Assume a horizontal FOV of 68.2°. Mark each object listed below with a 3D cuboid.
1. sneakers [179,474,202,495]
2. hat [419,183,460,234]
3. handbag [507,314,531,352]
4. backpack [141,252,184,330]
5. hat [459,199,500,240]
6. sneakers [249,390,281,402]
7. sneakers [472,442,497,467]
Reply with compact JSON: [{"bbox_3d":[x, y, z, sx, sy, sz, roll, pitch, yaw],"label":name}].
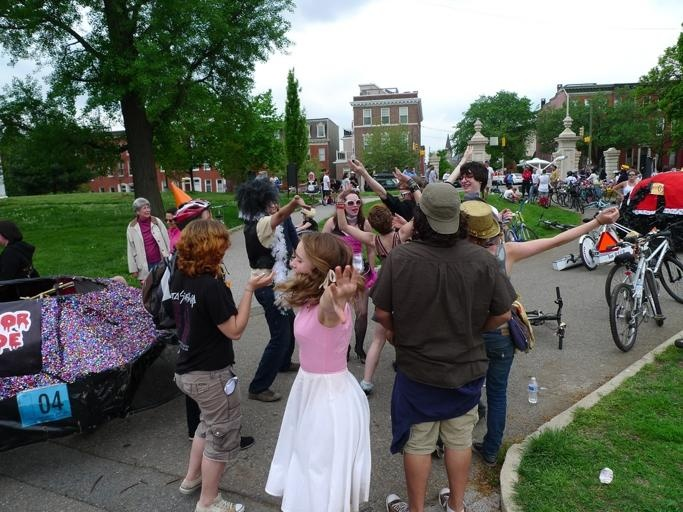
[{"bbox_3d":[-1.338,2.009,4.440,0.102,0.133,0.304,10,-26,10],"label":"sneakers"},{"bbox_3d":[0.854,-0.376,3.981,0.342,0.215,0.513,-17,-6,3],"label":"hat"},{"bbox_3d":[1.588,0.687,4.468,0.098,0.331,0.227,-14,-6,29],"label":"handbag"},{"bbox_3d":[-1.806,0.281,5.074,0.431,0.565,0.587,23,17,-14],"label":"backpack"},{"bbox_3d":[1.270,-0.321,4.499,0.387,0.342,0.260,-4,10,-14],"label":"hat"},{"bbox_3d":[-0.875,1.629,5.853,0.383,0.193,0.142,0,3,-7],"label":"sneakers"},{"bbox_3d":[1.342,1.858,4.744,0.089,0.118,0.257,-2,13,-9],"label":"sneakers"}]
